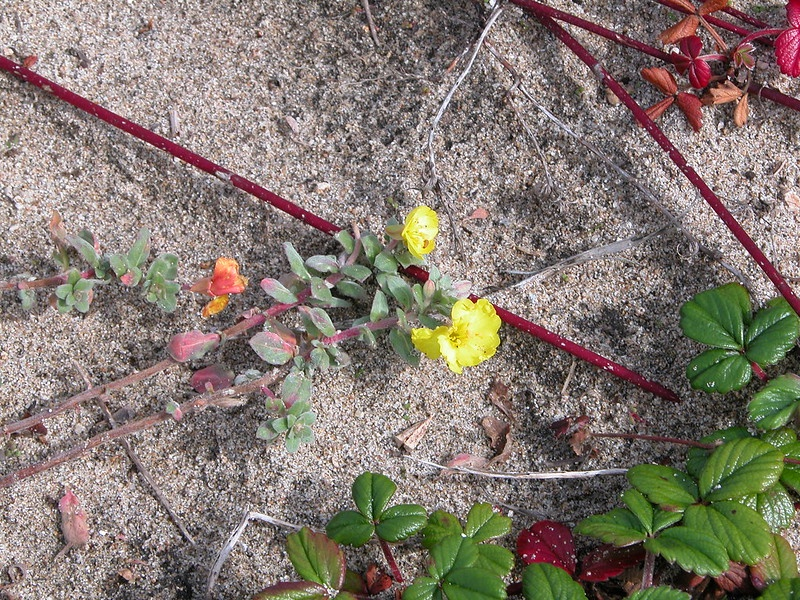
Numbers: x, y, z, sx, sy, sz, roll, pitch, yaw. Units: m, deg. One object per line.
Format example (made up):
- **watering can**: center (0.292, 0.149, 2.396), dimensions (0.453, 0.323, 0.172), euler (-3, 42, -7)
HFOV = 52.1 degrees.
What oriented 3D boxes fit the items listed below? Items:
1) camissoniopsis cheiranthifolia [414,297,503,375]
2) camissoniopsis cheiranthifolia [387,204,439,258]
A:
- **camissoniopsis cheiranthifolia**: center (0.222, 0.100, 3.086), dimensions (0.244, 0.279, 0.127), euler (18, 112, 40)
- **camissoniopsis cheiranthifolia**: center (0.063, -0.280, 3.278), dimensions (0.200, 0.340, 0.177), euler (36, 88, 3)
